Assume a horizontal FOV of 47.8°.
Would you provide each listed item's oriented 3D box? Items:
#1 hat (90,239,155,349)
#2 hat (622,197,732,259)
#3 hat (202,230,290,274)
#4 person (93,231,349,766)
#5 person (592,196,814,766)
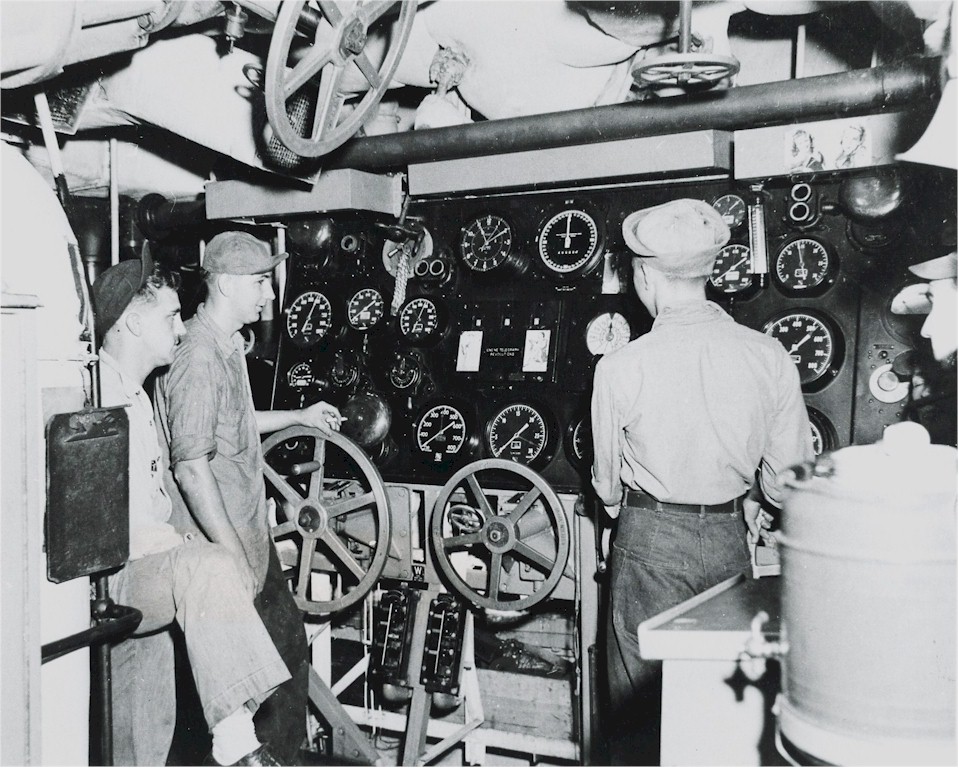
[{"bbox_3d":[-1.356,-0.358,4.080,0.122,0.372,0.262,19,18,-16],"label":"hat"},{"bbox_3d":[0.716,-0.559,3.896,0.283,0.259,0.097,-5,-32,2],"label":"hat"},{"bbox_3d":[-0.964,-0.528,4.396,0.245,0.118,0.183,-1,17,-16],"label":"hat"},{"bbox_3d":[-1.056,0.493,4.096,0.773,2.191,1.117,-1,3,-10],"label":"person"},{"bbox_3d":[0.790,0.405,3.968,0.742,2.154,0.350,0,2,4],"label":"person"}]
